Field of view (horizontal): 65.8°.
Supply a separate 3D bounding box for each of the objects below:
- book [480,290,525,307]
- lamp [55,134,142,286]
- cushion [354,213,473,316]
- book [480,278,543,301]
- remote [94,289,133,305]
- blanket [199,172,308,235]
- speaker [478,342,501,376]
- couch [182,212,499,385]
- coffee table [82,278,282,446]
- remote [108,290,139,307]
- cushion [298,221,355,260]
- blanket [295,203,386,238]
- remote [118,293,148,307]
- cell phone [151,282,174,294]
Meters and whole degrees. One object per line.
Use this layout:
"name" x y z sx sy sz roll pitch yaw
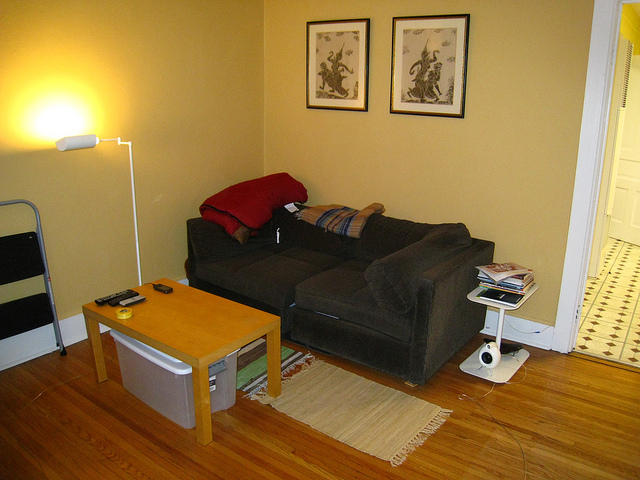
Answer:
"book" 1.352 0.425 3.648 0.187 0.033 0.316 -13 15 -23
"lamp" -1.754 -0.192 4.111 0.715 1.382 0.436 -17 26 -41
"cushion" 0.711 0.154 3.977 0.874 0.477 1.144 2 19 4
"book" 1.474 0.358 3.769 0.248 0.061 0.242 8 18 30
"remote" -1.529 0.419 3.707 0.085 0.053 0.298 15 25 34
"blanket" -0.657 -0.405 4.912 0.704 0.351 1.069 10 29 30
"speaker" 1.273 0.869 3.682 0.154 0.215 0.120 -1 -2 40
"couch" 0.054 0.276 4.358 2.582 0.977 1.137 12 22 28
"coffee table" -1.020 0.795 3.632 1.329 0.593 0.792 11 19 33
"remote" -1.450 0.421 3.641 0.085 0.032 0.161 14 22 36
"cushion" 0.055 0.011 4.595 0.355 0.349 0.154 17 -21 4
"blanket" 0.153 -0.208 4.616 0.517 0.159 0.418 15 31 32
"remote" -1.365 0.438 3.617 0.076 0.031 0.133 13 19 35
"cell phone" -1.207 0.364 3.810 0.132 0.023 0.066 13 18 36
